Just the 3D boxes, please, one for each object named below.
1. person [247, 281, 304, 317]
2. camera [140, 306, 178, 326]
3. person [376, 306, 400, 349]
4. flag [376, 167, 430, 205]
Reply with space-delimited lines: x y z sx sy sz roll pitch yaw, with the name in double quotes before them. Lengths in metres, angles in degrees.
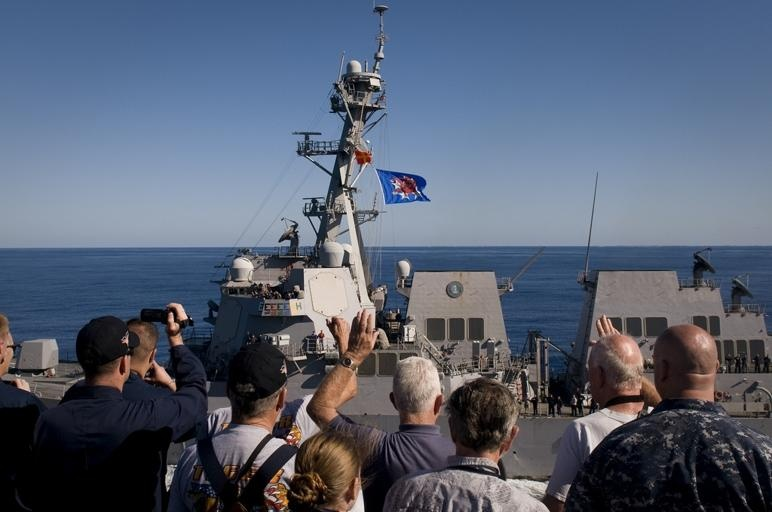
"person" -3.226 1.339 27.532 1.097 0.498 1.353 3 9 6
"camera" -3.391 0.874 13.259 0.361 0.152 0.315 3 2 1
"person" 0.113 2.306 30.528 0.630 0.651 1.069 1 10 4
"flag" 0.789 -2.602 33.744 2.184 1.435 0.220 -8 2 -30
